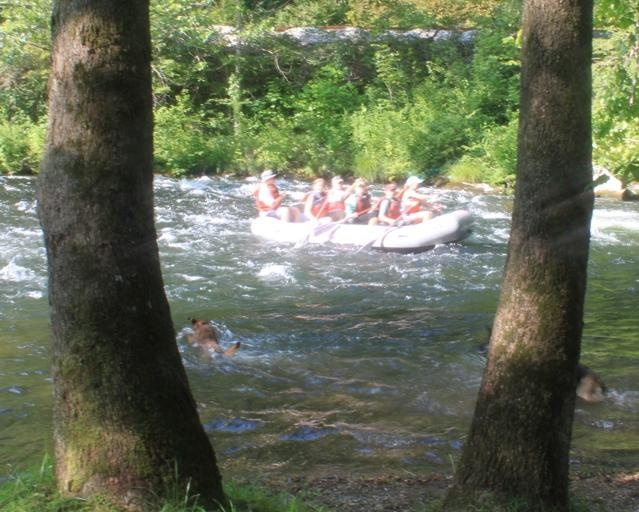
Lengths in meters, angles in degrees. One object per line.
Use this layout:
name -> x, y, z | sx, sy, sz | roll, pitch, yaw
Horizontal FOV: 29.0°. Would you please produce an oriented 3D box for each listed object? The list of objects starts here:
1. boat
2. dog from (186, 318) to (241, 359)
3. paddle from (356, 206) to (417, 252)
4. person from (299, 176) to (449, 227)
boat -> 0.658, -0.449, 24.634 | 3.361, 0.419, 1.413 | 2, 7, 25
dog -> -1.619, 1.187, 18.512 | 0.718, 0.517, 1.455 | 0, 4, -9
paddle -> 1.279, -0.509, 24.718 | 0.799, 0.189, 1.219 | -2, 24, 19
person -> 0.963, -1.117, 25.411 | 2.487, 0.683, 1.181 | 4, 10, 18
